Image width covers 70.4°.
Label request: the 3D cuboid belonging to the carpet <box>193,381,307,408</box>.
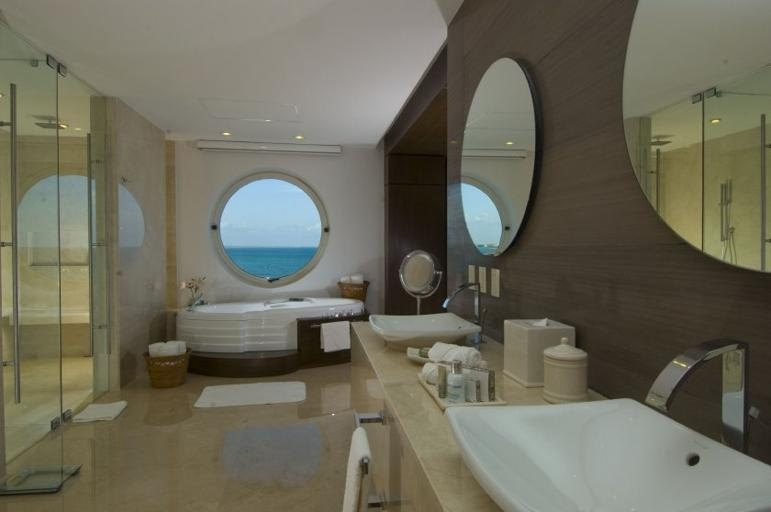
[{"bbox_3d":[-1.205,1.255,4.966,0.950,0.039,0.660,0,8,-10],"label":"carpet"}]

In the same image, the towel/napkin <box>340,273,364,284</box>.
[{"bbox_3d":[-0.394,0.280,6.600,0.159,0.124,0.164,-1,3,-4],"label":"towel/napkin"}]

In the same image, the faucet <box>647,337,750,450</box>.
[{"bbox_3d":[1.095,0.475,1.851,0.447,0.390,0.181,-4,9,-34],"label":"faucet"}]

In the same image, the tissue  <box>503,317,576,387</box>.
[{"bbox_3d":[0.742,0.465,2.595,0.316,0.265,0.320,2,-1,-29],"label":"tissue "}]

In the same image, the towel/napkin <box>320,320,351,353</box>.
[{"bbox_3d":[-0.552,0.864,5.890,0.410,0.394,0.149,-1,5,-27],"label":"towel/napkin"}]

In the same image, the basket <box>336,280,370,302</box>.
[{"bbox_3d":[-0.381,0.460,6.611,0.384,0.297,0.445,0,7,-4],"label":"basket"}]

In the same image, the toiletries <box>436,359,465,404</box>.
[{"bbox_3d":[0.279,0.537,2.364,0.148,0.176,0.060,6,9,36],"label":"toiletries"}]

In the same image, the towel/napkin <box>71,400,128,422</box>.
[{"bbox_3d":[-2.353,1.287,4.512,0.346,0.032,0.403,0,7,-3],"label":"towel/napkin"}]

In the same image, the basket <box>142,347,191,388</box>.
[{"bbox_3d":[-2.151,1.118,5.245,0.360,0.272,0.358,-2,-11,-21],"label":"basket"}]
